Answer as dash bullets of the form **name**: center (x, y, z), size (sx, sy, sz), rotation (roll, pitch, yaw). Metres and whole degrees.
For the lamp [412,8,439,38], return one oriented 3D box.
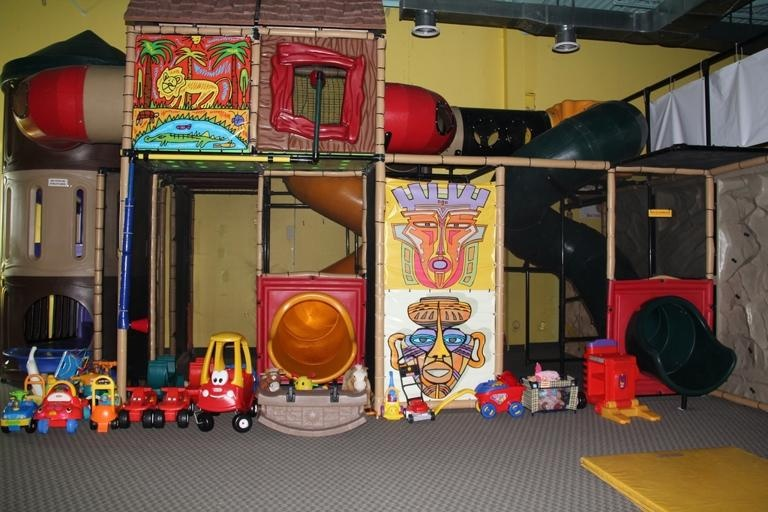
- **lamp**: center (0.607, -3.401, 12.602), size (0.356, 0.412, 0.375), rotation (0, -16, -3)

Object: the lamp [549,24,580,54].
- **lamp**: center (2.678, -3.221, 12.851), size (0.388, 0.439, 0.424), rotation (0, -21, 10)
